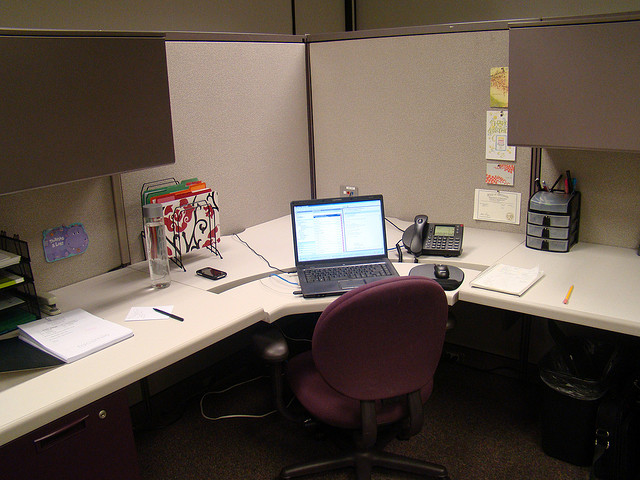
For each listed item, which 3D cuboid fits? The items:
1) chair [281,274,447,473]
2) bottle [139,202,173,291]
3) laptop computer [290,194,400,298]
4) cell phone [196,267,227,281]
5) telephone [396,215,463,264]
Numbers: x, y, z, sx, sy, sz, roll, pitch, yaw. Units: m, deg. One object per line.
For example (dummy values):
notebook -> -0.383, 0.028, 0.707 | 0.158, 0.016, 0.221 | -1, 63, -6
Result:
chair -> 0.166, 0.512, 1.830 | 0.555, 0.742, 0.511 | -7, 30, -11
bottle -> -0.695, 0.000, 2.105 | 0.113, 0.343, 0.341 | -9, 18, -20
laptop computer -> 0.109, 0.018, 2.056 | 0.444, 0.279, 0.398 | -3, 21, -1
cell phone -> -0.471, 0.135, 2.116 | 0.098, 0.014, 0.055 | 16, 28, 39
telephone -> 0.521, 0.000, 2.297 | 0.293, 0.124, 0.291 | 4, 31, 22
